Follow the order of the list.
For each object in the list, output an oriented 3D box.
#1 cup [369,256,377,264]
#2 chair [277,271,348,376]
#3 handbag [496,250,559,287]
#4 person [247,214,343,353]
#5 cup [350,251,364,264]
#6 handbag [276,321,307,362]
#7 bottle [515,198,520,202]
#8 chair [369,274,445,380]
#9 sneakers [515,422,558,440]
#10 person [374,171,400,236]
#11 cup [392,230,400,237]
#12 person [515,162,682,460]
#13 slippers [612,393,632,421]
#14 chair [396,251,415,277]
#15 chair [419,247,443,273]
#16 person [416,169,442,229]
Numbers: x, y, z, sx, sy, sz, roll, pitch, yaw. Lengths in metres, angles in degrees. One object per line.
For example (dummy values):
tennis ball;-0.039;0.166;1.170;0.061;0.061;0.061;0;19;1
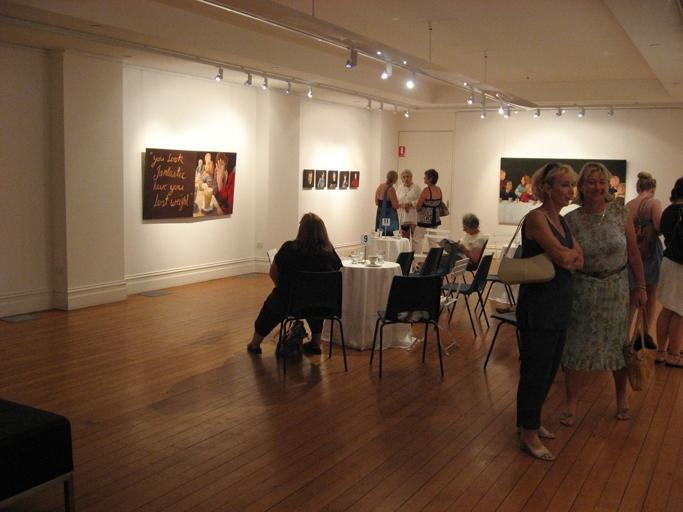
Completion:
cup;0.408;0.052;6.488;0.088;0.074;0.088;-1;4;0
chair;-0.344;0.706;5.887;0.846;1.186;0.728;-1;9;-11
handbag;1.513;0.104;4.025;0.457;0.313;0.132;-3;-7;13
person;-0.604;0.354;6.354;1.258;2.018;1.076;9;11;19
cup;0.223;0.028;6.724;0.156;0.167;0.166;0;2;0
handbag;-0.611;1.059;6.103;0.395;0.550;0.261;5;7;-26
bottle;4.893;-1.567;13.859;0.111;0.120;0.063;4;13;19
chair;0.812;0.735;5.962;0.877;1.200;1.176;3;10;11
sneakers;1.726;1.573;4.486;0.432;0.193;0.142;-2;5;11
person;1.019;-1.158;10.906;0.507;1.360;1.035;2;9;5
cup;1.179;-0.478;10.727;0.120;0.121;0.160;4;11;10
person;2.058;0.419;4.327;1.387;2.410;0.463;-4;10;-29
slippers;2.642;1.465;4.755;0.094;0.207;0.332;-3;-6;19
chair;0.925;0.104;7.197;0.274;0.557;0.316;0;-3;26
chair;1.368;0.055;7.465;0.260;0.400;0.638;8;12;36
person;1.972;-1.245;11.163;0.596;1.366;0.870;2;9;9
